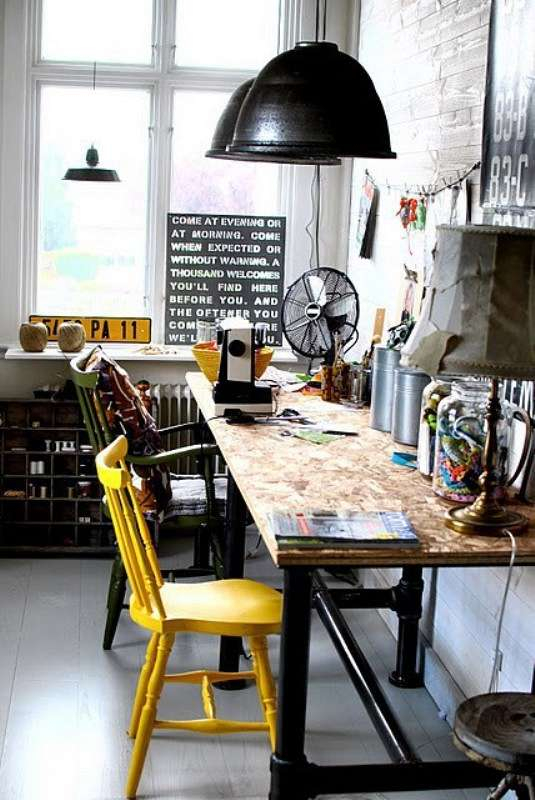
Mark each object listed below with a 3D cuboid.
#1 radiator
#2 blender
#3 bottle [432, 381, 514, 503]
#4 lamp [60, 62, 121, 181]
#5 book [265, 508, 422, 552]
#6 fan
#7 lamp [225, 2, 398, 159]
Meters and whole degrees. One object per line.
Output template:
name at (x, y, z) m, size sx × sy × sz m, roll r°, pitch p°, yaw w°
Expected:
radiator at (-0.546, 0.235, 3.502) m, size 0.329 × 0.623 × 0.097 m, roll -7°, pitch 7°, yaw 13°
blender at (-0.133, -0.053, 2.214) m, size 0.248 × 0.430 × 0.471 m, roll 1°, pitch 7°, yaw -6°
bottle at (0.430, 0.083, 1.274) m, size 0.144 × 0.243 × 0.143 m, roll -3°, pitch 9°, yaw 0°
lamp at (-0.986, -1.571, 3.472) m, size 0.298 × 0.682 × 0.205 m, roll 2°, pitch 5°, yaw -15°
book at (0.130, 0.211, 1.009) m, size 0.264 × 0.012 × 0.183 m, roll 2°, pitch 5°, yaw -10°
fan at (0.284, -0.329, 3.147) m, size 0.417 × 0.667 × 0.250 m, roll 3°, pitch 3°, yaw 25°
lamp at (0.072, -0.612, 1.322) m, size 0.302 × 0.324 × 0.306 m, roll 0°, pitch 7°, yaw -6°
